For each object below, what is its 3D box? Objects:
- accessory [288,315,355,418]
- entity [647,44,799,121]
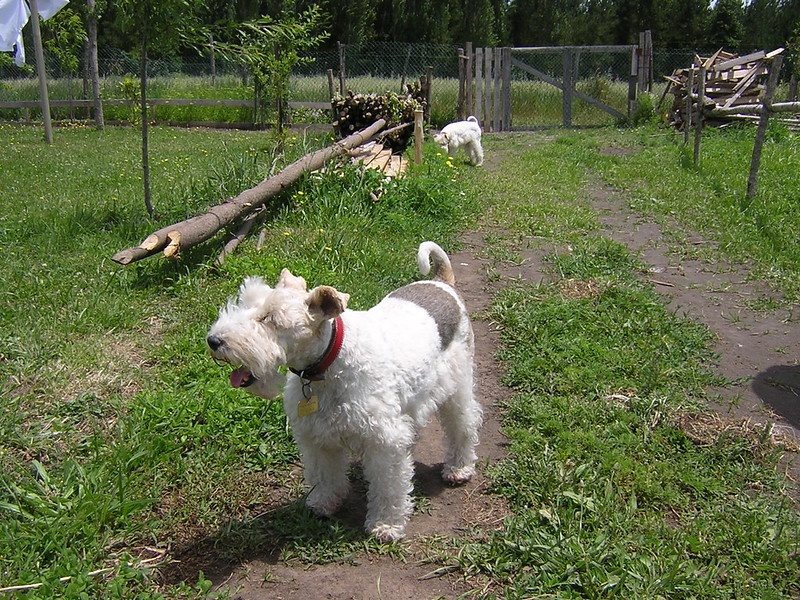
[{"bbox_3d":[-0.619,0.562,5.679,0.455,0.708,0.386,-9,-24,34],"label":"accessory"},{"bbox_3d":[7.649,-4.964,17.474,2.324,1.932,7.992,9,22,20],"label":"entity"}]
